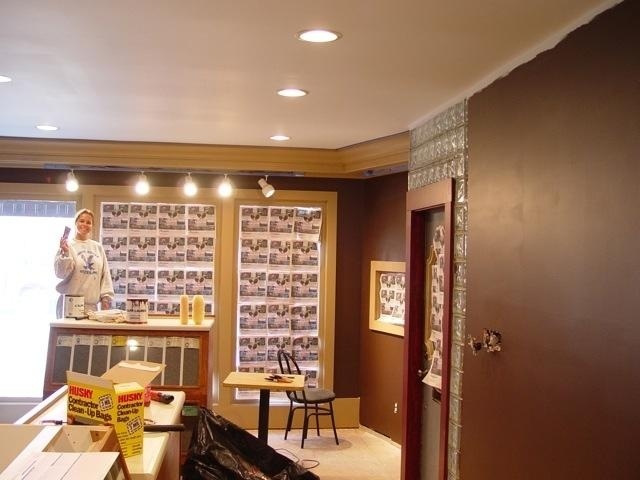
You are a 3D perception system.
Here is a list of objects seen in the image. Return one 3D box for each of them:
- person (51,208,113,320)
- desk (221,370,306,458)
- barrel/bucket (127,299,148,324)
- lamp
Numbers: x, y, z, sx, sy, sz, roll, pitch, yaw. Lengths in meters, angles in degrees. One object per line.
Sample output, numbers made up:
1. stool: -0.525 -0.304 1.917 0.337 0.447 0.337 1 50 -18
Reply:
1. person: -2.334 0.234 4.813 0.522 1.090 0.784 4 -5 -25
2. desk: -0.468 1.439 4.047 0.631 0.612 0.555 2 -5 -4
3. barrel/bucket: -1.555 0.600 4.109 0.178 0.215 0.187 1 -3 0
4. lamp: -1.668 -0.649 5.443 2.313 0.291 0.406 2 -5 -3
